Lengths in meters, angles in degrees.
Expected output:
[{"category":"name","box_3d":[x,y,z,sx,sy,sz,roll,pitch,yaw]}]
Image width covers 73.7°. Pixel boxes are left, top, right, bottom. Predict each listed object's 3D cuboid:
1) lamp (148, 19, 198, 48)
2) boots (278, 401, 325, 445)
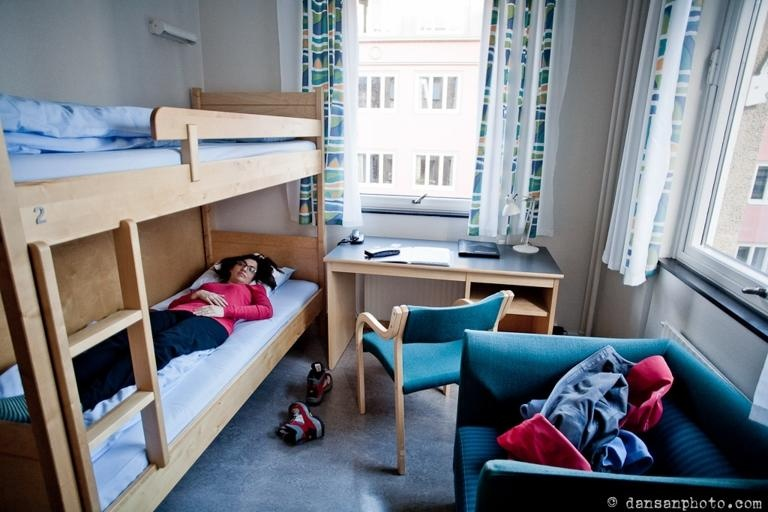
[{"category":"lamp","box_3d":[-1.472,-1.565,3.603,0.160,0.137,0.414,4,18,11]},{"category":"boots","box_3d":[-0.482,0.997,2.983,0.161,0.129,0.362,22,2,-10]}]
